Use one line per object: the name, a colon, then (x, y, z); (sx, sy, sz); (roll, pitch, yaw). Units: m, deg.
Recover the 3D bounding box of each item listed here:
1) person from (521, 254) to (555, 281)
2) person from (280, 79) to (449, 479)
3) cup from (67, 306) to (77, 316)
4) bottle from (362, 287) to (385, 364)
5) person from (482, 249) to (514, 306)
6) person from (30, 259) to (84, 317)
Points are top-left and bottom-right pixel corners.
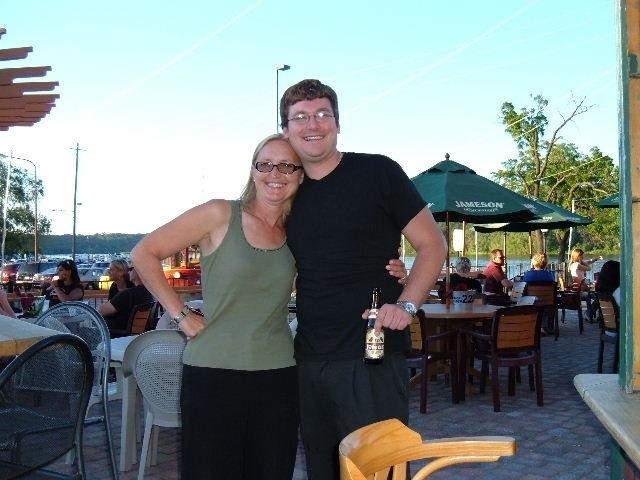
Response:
person: (6.284, 0.793, 15.611); (1.023, 0.842, 2.836); (-3, -9, 22)
person: (0.153, 0.166, 2.465); (0.736, 1.812, 0.362); (0, 0, 24)
cup: (-1.616, 0.463, 3.507); (0.064, 0.066, 0.036); (6, 19, 6)
bottle: (0.231, 0.379, 2.320); (0.087, 0.323, 0.147); (0, 0, 7)
person: (3.612, 0.884, 10.837); (0.691, 1.328, 0.644); (0, -3, 19)
person: (-3.870, 0.798, 8.015); (0.640, 1.001, 0.594); (4, -7, 21)
